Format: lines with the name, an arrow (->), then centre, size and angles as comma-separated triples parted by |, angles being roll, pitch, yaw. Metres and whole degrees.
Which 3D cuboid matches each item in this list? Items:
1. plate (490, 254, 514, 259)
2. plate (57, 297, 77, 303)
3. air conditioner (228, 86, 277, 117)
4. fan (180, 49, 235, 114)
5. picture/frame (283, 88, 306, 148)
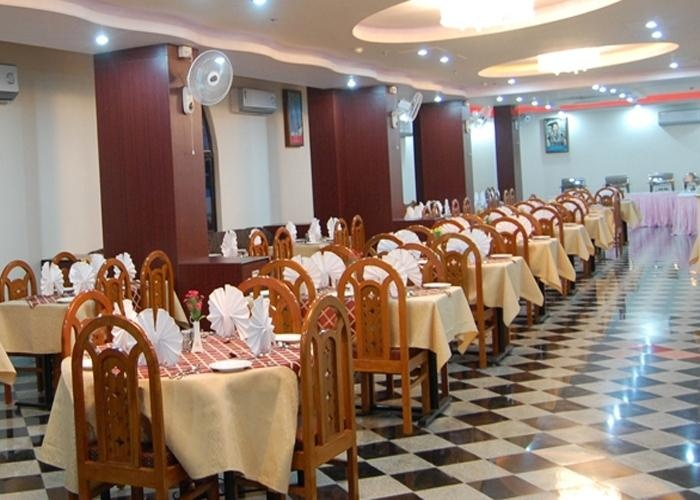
plate -> 1.795, 0.079, 6.579 | 0.253, 0.035, 0.281 | -4, 6, 17
plate -> -2.895, 0.517, 5.614 | 0.145, 0.041, 0.336 | -9, 7, -30
air conditioner -> -2.000, -3.088, 11.400 | 0.987, 0.496, 0.377 | -11, 7, -42
fan -> -1.609, -2.000, 6.373 | 0.438, 0.552, 0.270 | -4, 5, 13
picture/frame -> -1.254, -2.905, 12.303 | 0.192, 1.253, 0.630 | -1, 6, 42
